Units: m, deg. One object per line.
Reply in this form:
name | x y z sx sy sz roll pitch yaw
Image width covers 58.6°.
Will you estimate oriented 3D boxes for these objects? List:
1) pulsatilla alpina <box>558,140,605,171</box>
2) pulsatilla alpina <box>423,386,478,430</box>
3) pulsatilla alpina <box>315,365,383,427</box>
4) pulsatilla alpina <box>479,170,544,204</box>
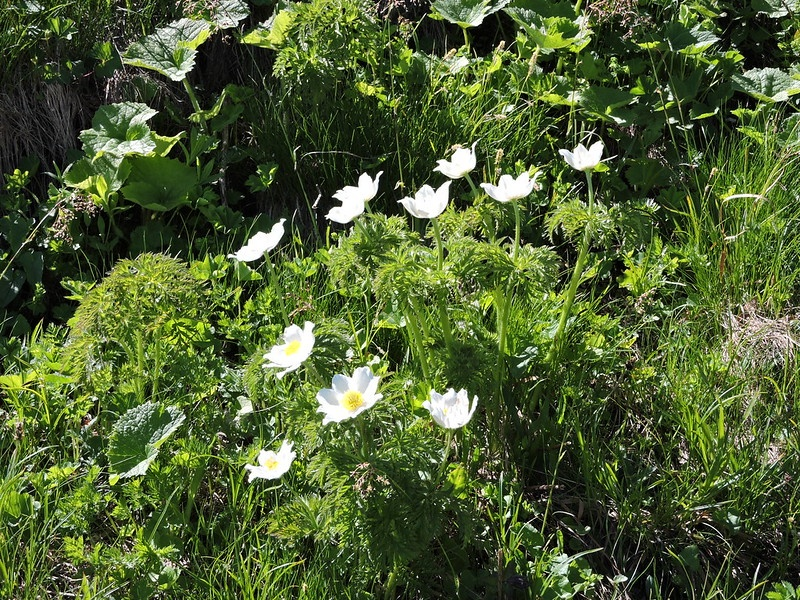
pulsatilla alpina | 0.758 -0.576 2.953 0.149 0.188 0.343 -1 27 19
pulsatilla alpina | 0.170 0.389 2.512 0.134 0.118 0.185 -5 28 -8
pulsatilla alpina | -0.160 0.347 2.373 0.217 0.088 0.227 -22 28 -29
pulsatilla alpina | 0.424 -0.433 2.808 0.185 0.175 0.255 -6 25 8
